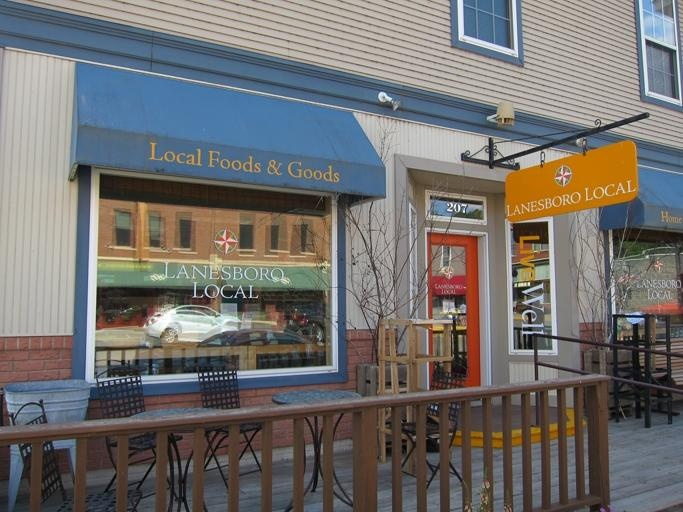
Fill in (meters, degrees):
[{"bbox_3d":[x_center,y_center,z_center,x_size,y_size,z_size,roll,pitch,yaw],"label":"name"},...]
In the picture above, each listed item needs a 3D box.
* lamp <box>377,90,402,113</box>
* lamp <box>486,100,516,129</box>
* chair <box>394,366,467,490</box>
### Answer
[{"bbox_3d":[0.650,-2.033,8.761,0.378,0.235,0.113,2,-6,-40],"label":"lamp"},{"bbox_3d":[2.381,-2.025,9.565,0.528,0.292,0.384,1,-6,-33],"label":"lamp"},{"bbox_3d":[0.973,1.804,7.085,0.663,1.151,2.281,-3,-5,5],"label":"chair"}]
